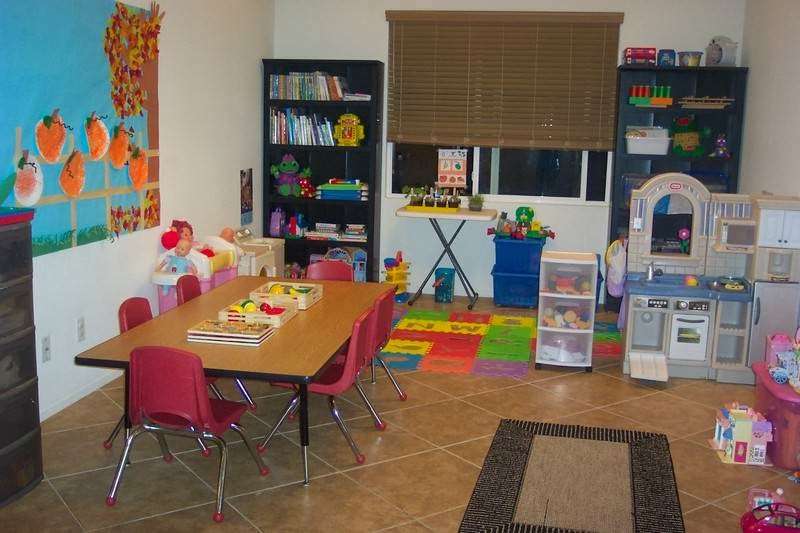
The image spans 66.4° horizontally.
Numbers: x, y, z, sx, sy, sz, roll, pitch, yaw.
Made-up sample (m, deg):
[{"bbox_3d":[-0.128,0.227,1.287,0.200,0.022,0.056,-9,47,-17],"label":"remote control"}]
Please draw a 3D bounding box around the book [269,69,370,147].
[{"bbox_3d":[-0.998,-1.950,7.465,0.970,0.865,0.319,1,3,6],"label":"book"}]

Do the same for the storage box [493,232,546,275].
[{"bbox_3d":[1.425,-0.146,7.274,0.571,0.390,0.404,2,8,11],"label":"storage box"}]

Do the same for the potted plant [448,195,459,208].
[{"bbox_3d":[0.642,-0.764,7.156,0.112,0.100,0.140,0,-1,-1],"label":"potted plant"}]

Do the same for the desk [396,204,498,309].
[{"bbox_3d":[0.629,-0.139,7.584,1.158,1.123,0.651,2,10,10],"label":"desk"}]

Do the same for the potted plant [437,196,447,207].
[{"bbox_3d":[0.494,-0.770,7.180,0.128,0.110,0.138,1,13,2],"label":"potted plant"}]

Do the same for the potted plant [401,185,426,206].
[{"bbox_3d":[0.189,-0.870,7.434,0.267,0.396,0.302,1,7,21],"label":"potted plant"}]

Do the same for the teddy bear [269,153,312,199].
[{"bbox_3d":[-1.339,-1.156,7.748,0.555,0.542,0.278,7,25,3],"label":"teddy bear"}]

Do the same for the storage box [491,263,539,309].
[{"bbox_3d":[1.399,0.227,7.350,0.503,0.376,0.508,1,7,11],"label":"storage box"}]

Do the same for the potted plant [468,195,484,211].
[{"bbox_3d":[0.920,-0.768,7.362,0.177,0.213,0.220,1,10,11],"label":"potted plant"}]

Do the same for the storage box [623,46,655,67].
[{"bbox_3d":[2.700,-2.367,6.882,0.365,0.207,0.305,5,13,21],"label":"storage box"}]

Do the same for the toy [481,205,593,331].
[{"bbox_3d":[1.550,-0.146,7.753,0.996,1.840,1.098,2,9,9],"label":"toy"}]

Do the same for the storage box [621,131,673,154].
[{"bbox_3d":[2.799,-1.386,6.889,0.402,0.155,0.274,3,9,11],"label":"storage box"}]

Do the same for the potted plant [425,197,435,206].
[{"bbox_3d":[0.361,-0.769,7.225,0.091,0.077,0.102,0,0,5],"label":"potted plant"}]
